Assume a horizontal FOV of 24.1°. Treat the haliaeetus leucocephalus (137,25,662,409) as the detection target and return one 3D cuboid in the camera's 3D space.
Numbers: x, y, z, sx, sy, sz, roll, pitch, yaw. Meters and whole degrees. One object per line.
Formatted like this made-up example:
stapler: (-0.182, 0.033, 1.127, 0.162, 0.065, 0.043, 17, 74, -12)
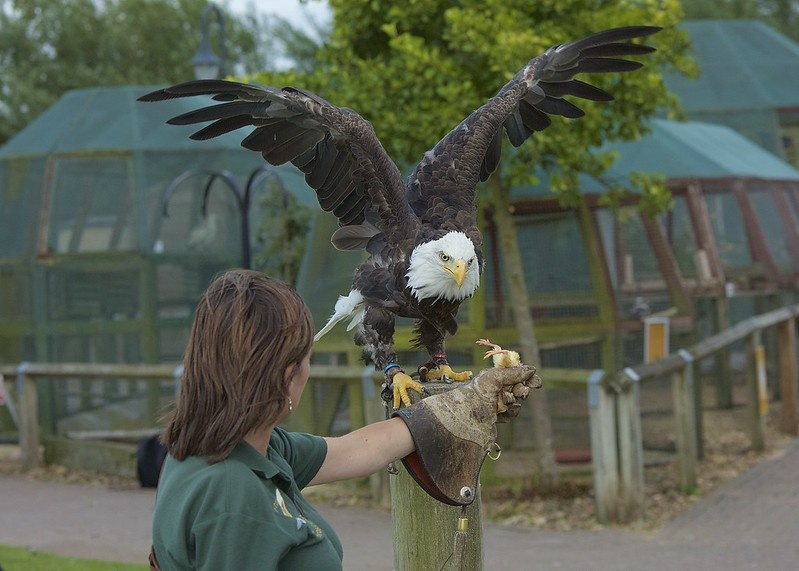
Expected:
haliaeetus leucocephalus: (0.023, -0.283, 10.434, 2.518, 1.726, 1.401, -6, 9, -25)
